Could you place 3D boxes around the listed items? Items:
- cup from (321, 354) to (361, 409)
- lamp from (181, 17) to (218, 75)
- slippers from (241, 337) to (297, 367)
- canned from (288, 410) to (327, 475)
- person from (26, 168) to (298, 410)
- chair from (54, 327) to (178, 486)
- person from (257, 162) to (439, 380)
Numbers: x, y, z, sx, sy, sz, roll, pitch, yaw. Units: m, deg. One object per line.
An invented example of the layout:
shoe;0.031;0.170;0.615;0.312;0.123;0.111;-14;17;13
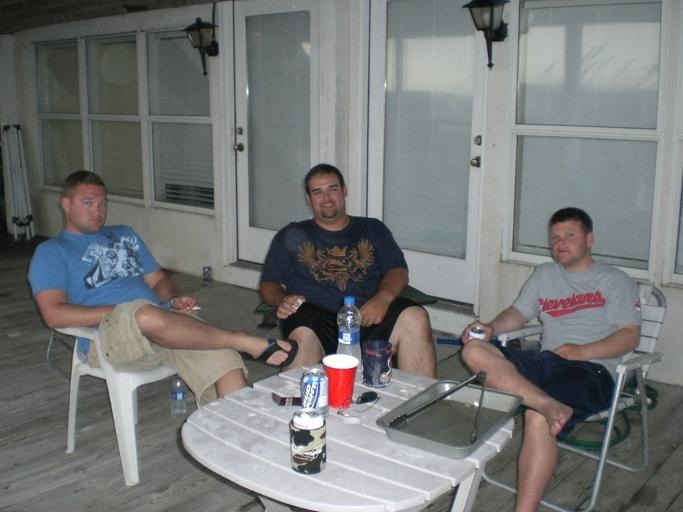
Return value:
cup;-0.011;0.513;2.380;0.163;0.206;0.218;0;4;-6
lamp;-1.372;-2.117;5.587;0.379;0.612;0.263;6;9;35
slippers;-0.310;0.473;2.712;0.198;0.173;0.135;-5;13;-9
canned;-0.117;0.640;1.981;0.131;0.207;0.114;-5;13;-7
person;-0.869;0.329;3.219;1.172;1.462;1.351;15;14;37
chair;-1.210;0.742;3.039;0.556;0.754;0.343;5;16;33
person;0.034;0.012;3.747;1.121;1.553;1.320;-4;6;-17
